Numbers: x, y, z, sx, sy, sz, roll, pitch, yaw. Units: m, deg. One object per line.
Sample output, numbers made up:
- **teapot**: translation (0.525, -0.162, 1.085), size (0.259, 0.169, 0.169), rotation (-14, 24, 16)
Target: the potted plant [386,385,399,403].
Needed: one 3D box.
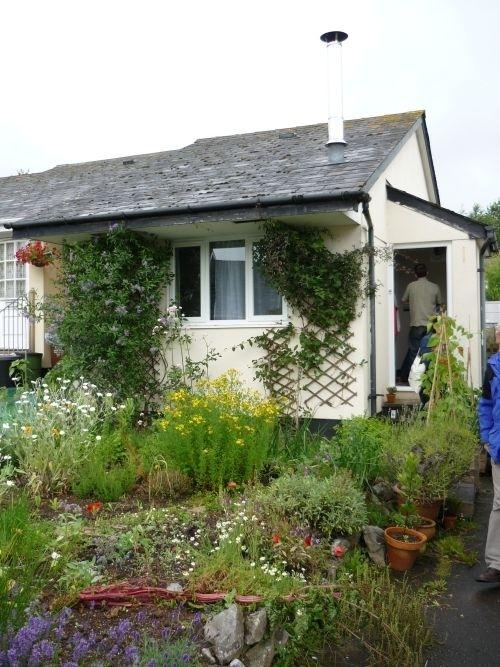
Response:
- **potted plant**: translation (1.880, 0.826, 8.404), size (0.128, 0.207, 0.194), rotation (-1, 0, 6)

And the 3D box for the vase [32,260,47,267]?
- **vase**: translation (-3.400, -1.136, 10.279), size (0.141, 0.077, 0.139), rotation (1, 7, -9)

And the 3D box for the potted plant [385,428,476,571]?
- **potted plant**: translation (1.558, 1.290, 5.435), size (0.806, 0.877, 0.816), rotation (-1, 1, 1)

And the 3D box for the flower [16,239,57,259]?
- **flower**: translation (-3.481, -1.343, 10.242), size (0.489, 0.294, 0.456), rotation (-1, 12, -9)

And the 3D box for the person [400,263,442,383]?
- **person**: translation (2.535, -0.201, 9.279), size (0.538, 1.601, 1.466), rotation (-1, 0, 11)
